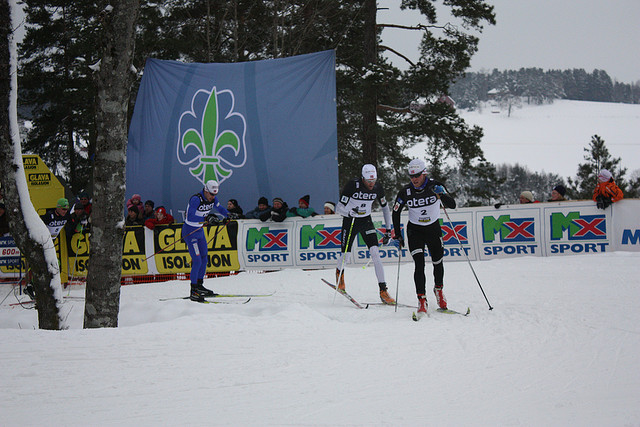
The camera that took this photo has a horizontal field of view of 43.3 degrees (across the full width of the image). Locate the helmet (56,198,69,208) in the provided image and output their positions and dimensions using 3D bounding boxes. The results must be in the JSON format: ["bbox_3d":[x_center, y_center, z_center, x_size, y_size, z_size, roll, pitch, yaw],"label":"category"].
[{"bbox_3d":[-7.685,-0.311,24.020,0.298,0.183,0.212,-2,2,30],"label":"helmet"}]

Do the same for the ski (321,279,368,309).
[{"bbox_3d":[0.638,2.125,21.167,0.950,0.116,0.172,37,28,28],"label":"ski"}]

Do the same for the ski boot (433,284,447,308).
[{"bbox_3d":[2.994,2.010,19.787,0.209,0.646,0.272,-13,-8,-21],"label":"ski boot"}]

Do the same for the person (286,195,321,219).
[{"bbox_3d":[-0.552,-0.196,24.185,0.555,0.574,0.777,-1,-4,28],"label":"person"}]

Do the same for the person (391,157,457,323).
[{"bbox_3d":[2.541,0.529,19.830,1.431,3.966,0.956,-2,0,6],"label":"person"}]

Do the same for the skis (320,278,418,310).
[{"bbox_3d":[1.276,2.127,21.010,0.291,0.208,2.467,15,1,-43],"label":"skis"}]

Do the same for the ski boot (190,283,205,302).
[{"bbox_3d":[-3.189,2.032,20.961,0.430,0.453,0.265,-2,0,27],"label":"ski boot"}]

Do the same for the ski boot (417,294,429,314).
[{"bbox_3d":[2.506,2.176,19.668,0.248,0.465,0.570,-2,0,7],"label":"ski boot"}]

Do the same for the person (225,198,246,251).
[{"bbox_3d":[-2.737,0.333,24.279,0.499,1.582,0.581,12,15,15],"label":"person"}]

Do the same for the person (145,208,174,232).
[{"bbox_3d":[-4.933,0.413,24.781,0.971,0.768,0.562,-2,-7,-18],"label":"person"}]

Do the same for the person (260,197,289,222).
[{"bbox_3d":[-1.323,-0.099,24.199,0.521,0.582,0.795,-1,0,23],"label":"person"}]

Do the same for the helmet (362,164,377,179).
[{"bbox_3d":[1.269,-1.086,20.609,0.259,0.362,0.361,-1,6,-8],"label":"helmet"}]

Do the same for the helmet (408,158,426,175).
[{"bbox_3d":[2.380,-1.158,19.741,0.417,0.393,0.289,-2,0,-9],"label":"helmet"}]

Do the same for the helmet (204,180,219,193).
[{"bbox_3d":[-2.841,-0.695,21.381,0.266,0.322,0.333,13,12,-36],"label":"helmet"}]

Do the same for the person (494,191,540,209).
[{"bbox_3d":[5.925,-0.212,23.949,0.994,0.470,0.653,-16,15,-22],"label":"person"}]

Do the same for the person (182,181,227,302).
[{"bbox_3d":[-3.073,0.705,21.315,0.960,3.000,0.686,-2,0,-38],"label":"person"}]

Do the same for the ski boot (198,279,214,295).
[{"bbox_3d":[-3.023,1.940,21.282,0.467,0.518,0.237,0,-2,-5],"label":"ski boot"}]
